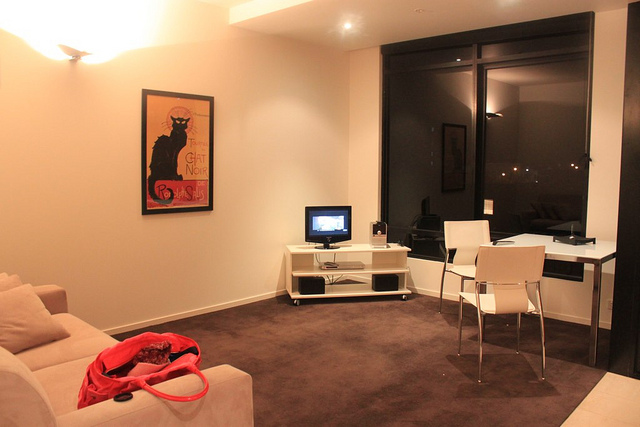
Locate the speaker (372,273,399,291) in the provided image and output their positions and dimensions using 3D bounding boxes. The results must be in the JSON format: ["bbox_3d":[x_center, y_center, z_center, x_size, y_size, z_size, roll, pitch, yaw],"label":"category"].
[{"bbox_3d":[0.922,0.954,6.275,0.358,0.254,0.094,-1,14,-5],"label":"speaker"}]

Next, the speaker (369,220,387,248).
[{"bbox_3d":[0.832,0.306,6.343,0.223,0.334,0.197,0,13,0],"label":"speaker"}]

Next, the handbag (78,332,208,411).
[{"bbox_3d":[-1.108,0.929,2.845,0.682,0.293,0.479,4,13,-18],"label":"handbag"}]

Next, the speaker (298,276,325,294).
[{"bbox_3d":[-0.118,0.974,6.083,0.261,0.146,0.251,0,-3,-4],"label":"speaker"}]

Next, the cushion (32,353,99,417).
[{"bbox_3d":[-1.829,1.213,3.211,0.391,0.088,0.390,0,3,-34],"label":"cushion"}]

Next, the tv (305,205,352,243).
[{"bbox_3d":[0.112,0.186,6.332,0.729,0.561,0.164,-1,2,-23],"label":"tv"}]

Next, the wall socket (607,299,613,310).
[{"bbox_3d":[3.412,1.072,5.272,0.030,0.107,0.037,5,14,18],"label":"wall socket"}]
